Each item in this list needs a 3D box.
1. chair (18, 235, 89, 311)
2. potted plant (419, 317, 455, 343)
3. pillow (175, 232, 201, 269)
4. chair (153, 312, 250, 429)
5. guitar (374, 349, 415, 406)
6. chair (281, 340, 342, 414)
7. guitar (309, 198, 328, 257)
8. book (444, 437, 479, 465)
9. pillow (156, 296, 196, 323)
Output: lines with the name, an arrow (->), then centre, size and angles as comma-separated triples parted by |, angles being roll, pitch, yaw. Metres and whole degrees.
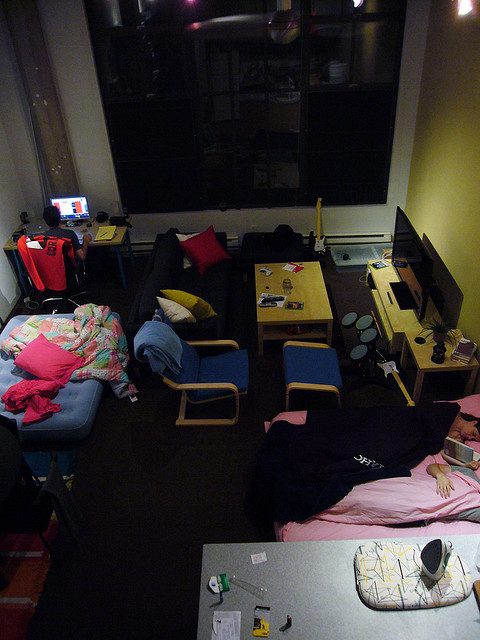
chair -> -2.150, -0.565, 5.261 | 0.591, 1.005, 0.578 | -7, 34, -10
potted plant -> 1.778, 0.109, 4.024 | 0.239, 0.171, 0.237 | 29, 50, 35
pillow -> -0.669, -0.895, 5.528 | 0.379, 0.117, 0.390 | -4, 72, -18
chair -> -0.321, 0.409, 3.874 | 0.717, 0.746, 0.645 | -1, 35, 0
guitar -> 1.466, 0.570, 4.251 | 0.100, 0.722, 0.197 | -27, 29, 35
chair -> 0.623, 0.567, 4.037 | 0.463, 0.338, 0.683 | -2, 44, 0
guitar -> 1.065, -1.236, 6.033 | 0.254, 0.776, 0.372 | -10, 34, -10
book -> 1.490, 0.892, 2.996 | 0.174, 0.048, 0.134 | 23, 39, 16
pillow -> -0.627, -0.067, 4.300 | 0.341, 0.280, 0.229 | 18, 40, 28
